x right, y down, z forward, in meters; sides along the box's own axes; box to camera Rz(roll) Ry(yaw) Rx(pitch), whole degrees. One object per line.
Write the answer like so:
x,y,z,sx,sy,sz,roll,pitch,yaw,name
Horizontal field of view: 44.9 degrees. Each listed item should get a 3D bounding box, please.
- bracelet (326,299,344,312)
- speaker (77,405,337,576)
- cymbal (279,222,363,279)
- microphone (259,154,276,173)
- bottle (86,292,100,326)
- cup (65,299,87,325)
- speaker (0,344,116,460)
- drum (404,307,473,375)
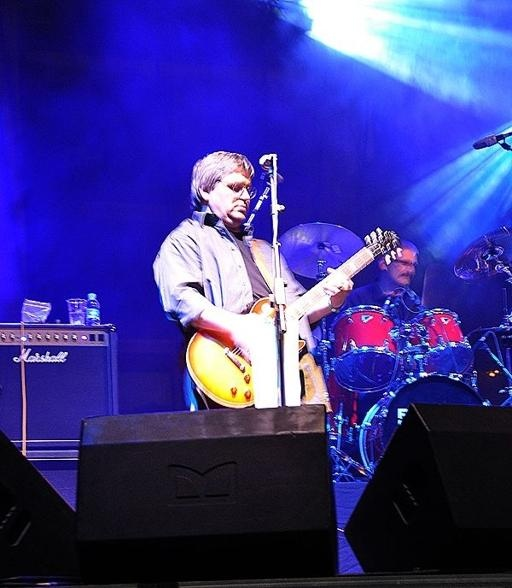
0.353,0.058,2.833,0.050,0.062,0.028,6,13,-11,bracelet
-0.080,0.259,0.997,0.337,0.249,0.211,-1,-5,-2,speaker
0.299,-0.233,2.888,0.393,0.104,0.390,6,24,21,cymbal
0.036,-0.419,2.016,0.042,0.056,0.084,2,10,1,microphone
-0.749,0.071,2.859,0.065,0.132,0.079,-1,11,-15,bottle
-0.822,0.086,2.852,0.106,0.130,0.119,-4,-6,42,cup
-0.772,0.408,2.338,0.535,0.487,0.276,-1,-13,-4,speaker
0.791,0.222,2.703,0.380,0.263,0.207,-7,13,-42,drum
